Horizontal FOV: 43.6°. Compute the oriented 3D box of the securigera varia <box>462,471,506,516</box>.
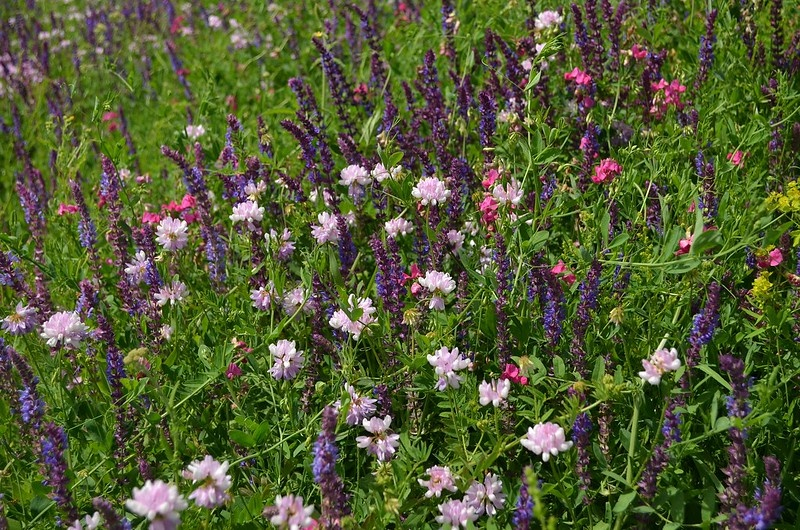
[{"bbox_3d":[0.390,1.048,4.586,0.220,0.133,0.227,-14,13,-40],"label":"securigera varia"}]

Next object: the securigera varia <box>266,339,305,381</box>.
[{"bbox_3d":[-0.559,0.437,4.707,0.167,0.098,0.196,2,14,8],"label":"securigera varia"}]

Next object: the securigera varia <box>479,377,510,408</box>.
[{"bbox_3d":[0.428,0.605,4.478,0.130,0.079,0.125,-27,37,-17],"label":"securigera varia"}]

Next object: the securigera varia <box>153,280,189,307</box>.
[{"bbox_3d":[-1.175,0.152,5.118,0.136,0.133,0.068,-21,1,-10],"label":"securigera varia"}]

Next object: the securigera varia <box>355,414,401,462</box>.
[{"bbox_3d":[-0.092,0.803,4.565,0.170,0.228,0.096,-2,-2,8],"label":"securigera varia"}]

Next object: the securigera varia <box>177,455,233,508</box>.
[{"bbox_3d":[-0.826,0.951,4.306,0.190,0.227,0.143,-20,26,-18],"label":"securigera varia"}]

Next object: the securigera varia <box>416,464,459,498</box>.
[{"bbox_3d":[0.180,0.984,4.501,0.133,0.080,0.156,20,55,13],"label":"securigera varia"}]

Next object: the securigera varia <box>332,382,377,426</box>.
[{"bbox_3d":[-0.189,0.625,4.586,0.154,0.185,0.060,22,31,20],"label":"securigera varia"}]
